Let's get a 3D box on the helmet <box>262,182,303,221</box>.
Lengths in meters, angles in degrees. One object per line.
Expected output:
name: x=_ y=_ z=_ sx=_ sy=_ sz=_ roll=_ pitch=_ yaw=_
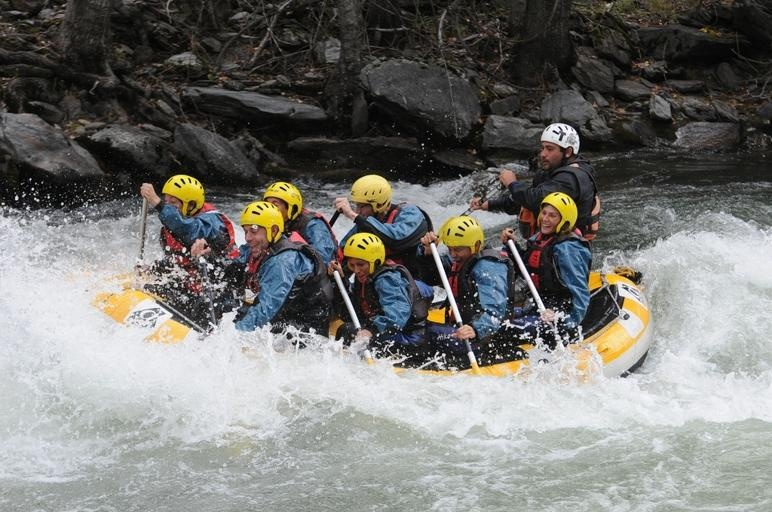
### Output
helmet: x=-1.569 y=-0.846 z=14.550 sx=0.643 sy=0.499 sz=0.479 roll=12 pitch=5 yaw=-46

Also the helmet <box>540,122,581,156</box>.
helmet: x=2.811 y=-1.875 z=15.302 sx=0.605 sy=0.446 sz=0.448 roll=29 pitch=-10 yaw=-8

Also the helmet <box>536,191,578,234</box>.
helmet: x=2.573 y=-0.624 z=14.289 sx=0.588 sy=0.577 sz=0.473 roll=9 pitch=10 yaw=-43

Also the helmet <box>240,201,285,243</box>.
helmet: x=-1.697 y=-0.489 z=13.555 sx=0.661 sy=0.564 sz=0.495 roll=-20 pitch=12 yaw=-1
